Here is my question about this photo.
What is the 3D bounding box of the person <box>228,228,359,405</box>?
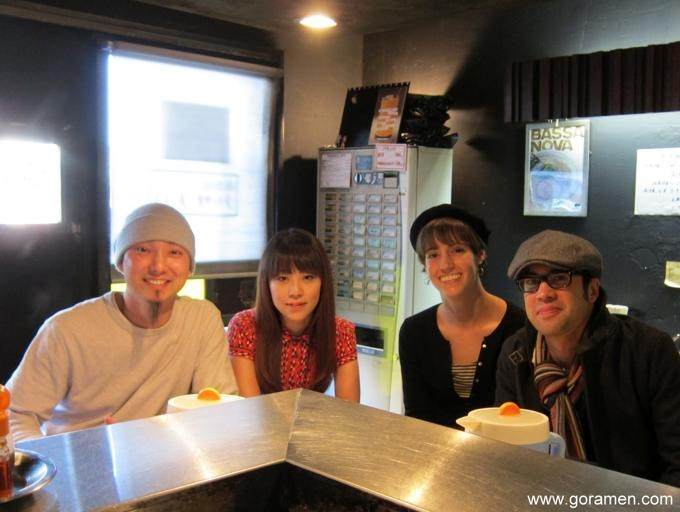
[{"bbox_3d":[-0.284,0.263,2.531,0.518,0.775,0.221,-1,3,5],"label":"person"}]

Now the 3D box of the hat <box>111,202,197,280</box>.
[{"bbox_3d":[-0.729,-0.038,2.115,0.291,0.228,0.289,7,-16,-25],"label":"hat"}]

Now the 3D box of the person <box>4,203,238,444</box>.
[{"bbox_3d":[-0.832,0.234,2.050,0.787,0.873,0.332,-3,4,-36],"label":"person"}]

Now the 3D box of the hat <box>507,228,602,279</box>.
[{"bbox_3d":[0.802,0.013,1.901,0.266,0.117,0.185,16,-17,-35],"label":"hat"}]
